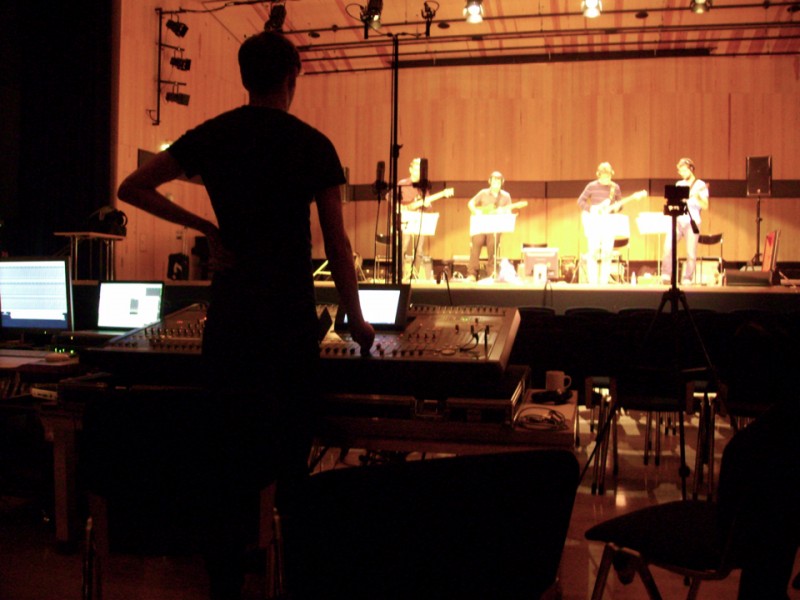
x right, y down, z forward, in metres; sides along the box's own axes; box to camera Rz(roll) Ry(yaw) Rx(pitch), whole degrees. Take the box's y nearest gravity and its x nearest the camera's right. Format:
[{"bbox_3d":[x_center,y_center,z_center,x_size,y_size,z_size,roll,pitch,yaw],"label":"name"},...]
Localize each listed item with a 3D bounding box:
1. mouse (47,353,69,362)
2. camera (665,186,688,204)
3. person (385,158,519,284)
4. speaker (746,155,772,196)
[{"bbox_3d":[-1.742,0.294,4.324,0.067,0.018,0.065,7,7,32],"label":"mouse"},{"bbox_3d":[1.765,-0.654,5.415,0.172,0.137,0.102,0,-2,19],"label":"camera"},{"bbox_3d":[0.758,-1.045,10.862,1.712,1.717,0.481,1,-4,3],"label":"person"},{"bbox_3d":[4.853,-1.664,11.431,0.299,0.541,0.318,1,3,19],"label":"speaker"}]
